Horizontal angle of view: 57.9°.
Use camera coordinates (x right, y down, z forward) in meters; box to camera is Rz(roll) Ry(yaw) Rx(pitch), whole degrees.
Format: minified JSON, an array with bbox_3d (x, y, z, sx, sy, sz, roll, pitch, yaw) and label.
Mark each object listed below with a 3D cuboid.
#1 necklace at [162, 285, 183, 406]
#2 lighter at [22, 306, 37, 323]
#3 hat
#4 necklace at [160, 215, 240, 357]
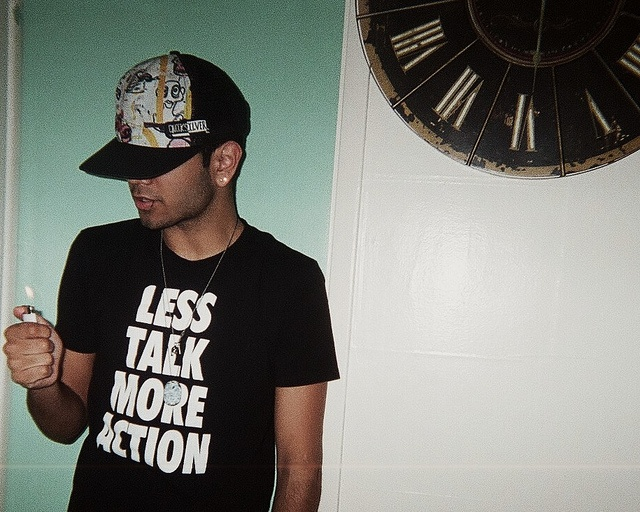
[{"bbox_3d":[-0.403,0.259,1.592,0.052,0.380,0.033,5,26,-5],"label":"necklace"},{"bbox_3d":[-0.739,0.149,1.489,0.034,0.040,0.042,4,-2,-24],"label":"lighter"},{"bbox_3d":[-0.444,-0.418,1.654,0.357,0.323,0.507,18,29,35],"label":"hat"},{"bbox_3d":[-0.349,0.087,1.720,0.137,0.564,0.060,13,-5,3],"label":"necklace"}]
